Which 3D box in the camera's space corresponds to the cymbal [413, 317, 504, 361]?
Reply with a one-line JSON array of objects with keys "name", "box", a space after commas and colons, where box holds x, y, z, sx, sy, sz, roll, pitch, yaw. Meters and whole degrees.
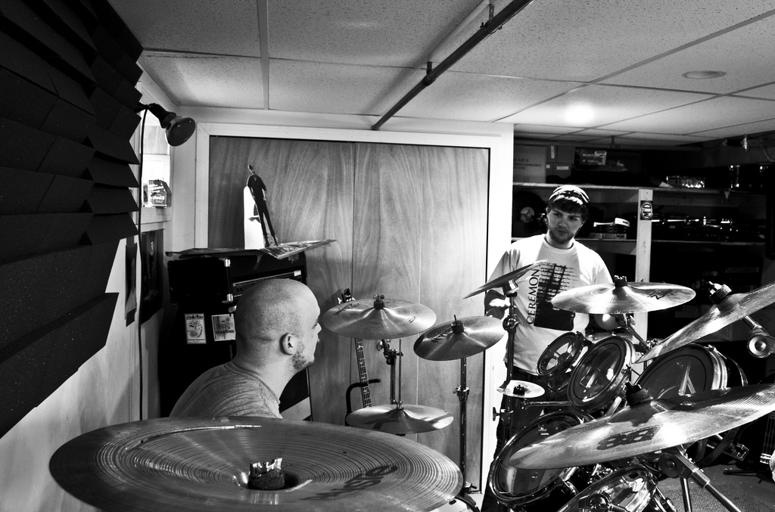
[{"name": "cymbal", "box": [0.403, 0.464, 3.132, 0.478, 0.216, 0.374, 9, 10, 7]}]

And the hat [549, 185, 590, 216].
[{"name": "hat", "box": [1.270, -0.392, 3.868, 0.202, 0.193, 0.258, 20, 11, 5]}]

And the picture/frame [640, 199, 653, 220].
[{"name": "picture/frame", "box": [2.183, -0.381, 4.637, 0.118, 0.147, 0.056, 0, 1, -6]}]

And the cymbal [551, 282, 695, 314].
[{"name": "cymbal", "box": [1.207, 0.221, 2.835, 0.355, 0.071, 0.341, -7, 11, 10]}]
